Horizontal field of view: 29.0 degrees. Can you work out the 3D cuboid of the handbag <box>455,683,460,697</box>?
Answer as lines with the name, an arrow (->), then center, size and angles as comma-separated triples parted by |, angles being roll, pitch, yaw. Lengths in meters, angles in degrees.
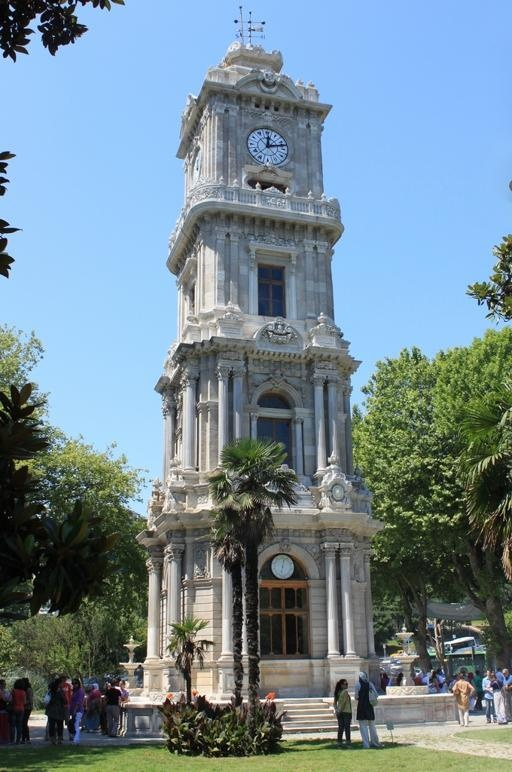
handbag -> 5.731, 8.575, 27.988 | 0.170, 0.352, 0.512 | -4, -17, 7

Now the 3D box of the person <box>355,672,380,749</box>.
person -> 2.653, 7.609, 23.338 | 0.503, 1.658, 1.308 | -3, -17, 5

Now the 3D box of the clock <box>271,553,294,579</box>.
clock -> 0.917, 5.895, 32.291 | 0.821, 0.838, 0.148 | 6, -19, -23

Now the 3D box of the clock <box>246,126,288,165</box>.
clock -> 0.414, -9.538, 39.311 | 1.603, 1.534, 0.133 | 28, -36, -2

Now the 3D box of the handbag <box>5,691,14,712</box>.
handbag -> -6.143, 7.843, 24.620 | 0.164, 0.442, 1.233 | 3, -17, -13
